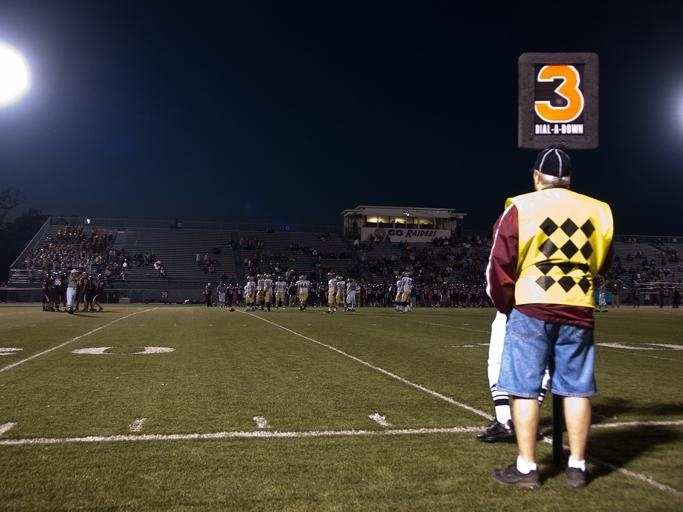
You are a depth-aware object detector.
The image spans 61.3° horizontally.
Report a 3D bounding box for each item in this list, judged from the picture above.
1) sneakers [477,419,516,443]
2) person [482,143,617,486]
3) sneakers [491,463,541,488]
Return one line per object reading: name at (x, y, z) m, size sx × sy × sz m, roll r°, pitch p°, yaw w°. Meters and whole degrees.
sneakers at (1.347, 1.509, 4.927) m, size 0.360 × 0.180 × 0.142 m, roll 2°, pitch -15°, yaw -4°
person at (1.529, 0.570, 4.272) m, size 0.920 × 2.172 × 0.323 m, roll 6°, pitch -6°, yaw -10°
sneakers at (1.277, 1.582, 4.192) m, size 0.323 × 0.127 × 0.138 m, roll 1°, pitch -17°, yaw 22°
